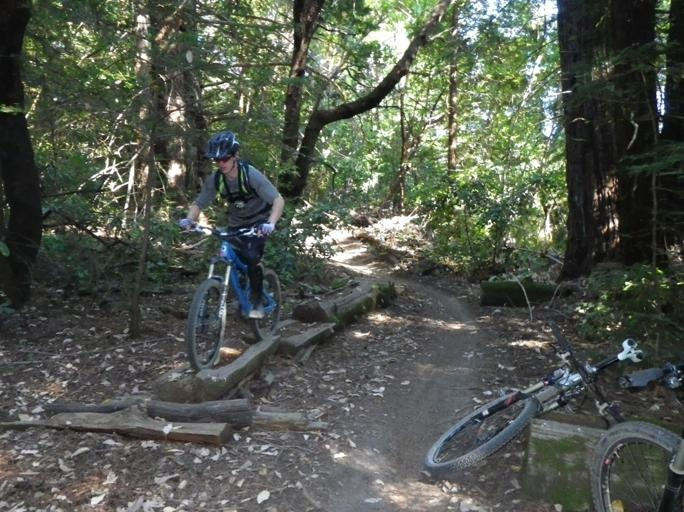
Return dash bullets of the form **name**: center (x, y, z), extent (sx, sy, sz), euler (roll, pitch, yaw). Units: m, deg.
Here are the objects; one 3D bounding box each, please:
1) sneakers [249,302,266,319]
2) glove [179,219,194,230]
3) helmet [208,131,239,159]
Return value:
- **sneakers**: center (-1.267, 0.833, 8.425), extent (0.172, 0.242, 0.248), euler (2, 42, 28)
- **glove**: center (-2.143, -0.452, 7.744), extent (0.163, 0.138, 0.326), euler (3, 3, -14)
- **helmet**: center (-1.595, -1.493, 7.663), extent (0.317, 0.192, 0.417), euler (2, 47, 4)
